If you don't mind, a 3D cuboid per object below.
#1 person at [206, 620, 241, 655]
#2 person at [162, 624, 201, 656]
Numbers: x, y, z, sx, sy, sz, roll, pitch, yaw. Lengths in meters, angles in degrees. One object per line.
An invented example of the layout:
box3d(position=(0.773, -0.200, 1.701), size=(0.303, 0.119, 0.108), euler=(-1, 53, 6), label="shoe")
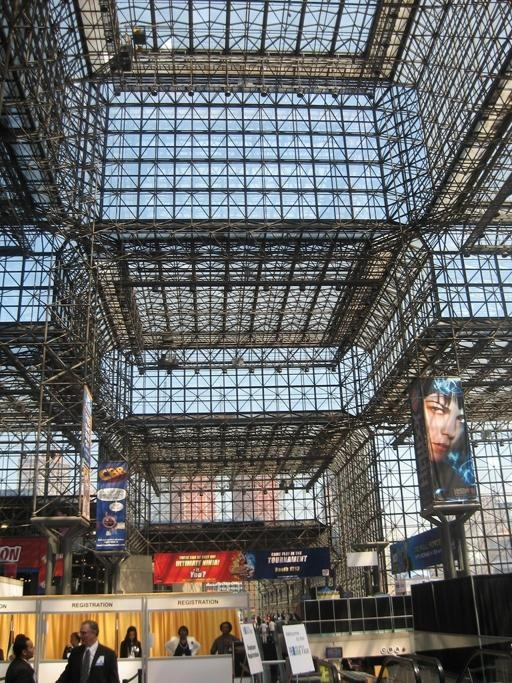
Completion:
box3d(position=(-0.659, 6.106, 13.947), size=(0.542, 0.633, 0.880), euler=(-4, -26, -4), label="person")
box3d(position=(-1.558, 6.325, 14.263), size=(0.686, 0.590, 1.824), euler=(-2, -25, -7), label="person")
